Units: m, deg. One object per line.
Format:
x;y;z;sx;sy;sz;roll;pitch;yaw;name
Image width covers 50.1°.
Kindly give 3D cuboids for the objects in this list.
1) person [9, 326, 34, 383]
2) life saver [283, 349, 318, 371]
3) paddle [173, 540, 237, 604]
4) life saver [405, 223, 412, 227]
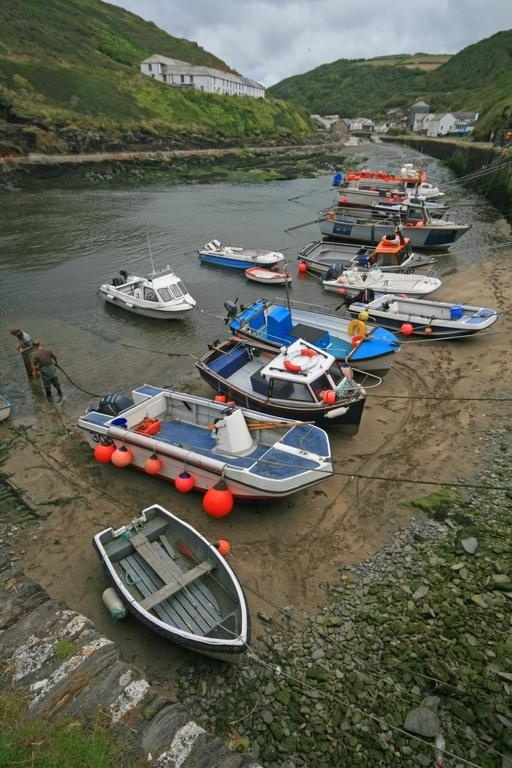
-7.394;-0.856;17.230;0.668;1.957;0.697;-27;66;-27;person
1.078;-0.570;13.274;0.802;0.362;0.937;0;22;6;life saver
-0.934;3.048;9.867;0.178;0.345;1.571;28;-7;-38;paddle
7.753;-8.151;28.003;0.237;0.111;0.311;5;35;8;life saver
